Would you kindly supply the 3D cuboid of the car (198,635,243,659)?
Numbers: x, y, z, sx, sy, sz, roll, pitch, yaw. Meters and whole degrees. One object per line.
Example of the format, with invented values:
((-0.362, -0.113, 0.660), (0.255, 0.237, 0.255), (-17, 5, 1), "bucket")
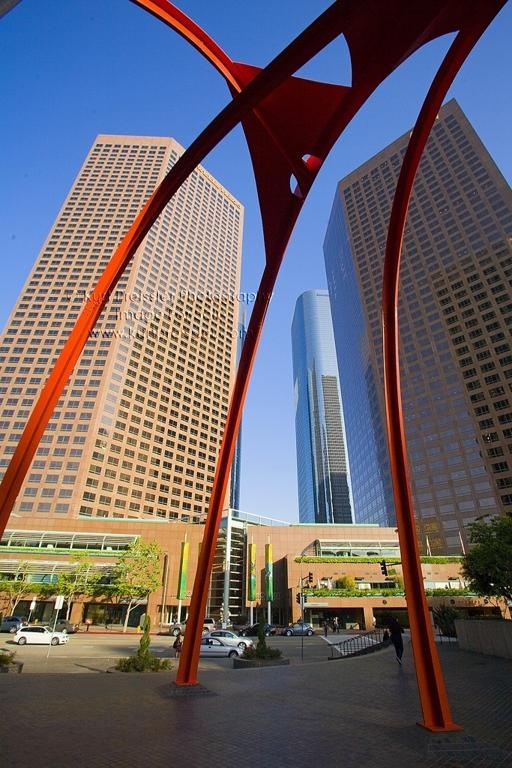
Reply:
((-2.349, 18.275, 23.721), (2.588, 1.028, 1.620), (4, -25, -6), "car")

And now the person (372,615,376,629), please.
((16.221, 33.090, 47.692), (0.527, 1.087, 2.442), (-7, -26, 18), "person")

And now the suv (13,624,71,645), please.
((-16.085, 19.451, 26.276), (3.389, 1.268, 1.847), (0, -24, 1), "suv")
